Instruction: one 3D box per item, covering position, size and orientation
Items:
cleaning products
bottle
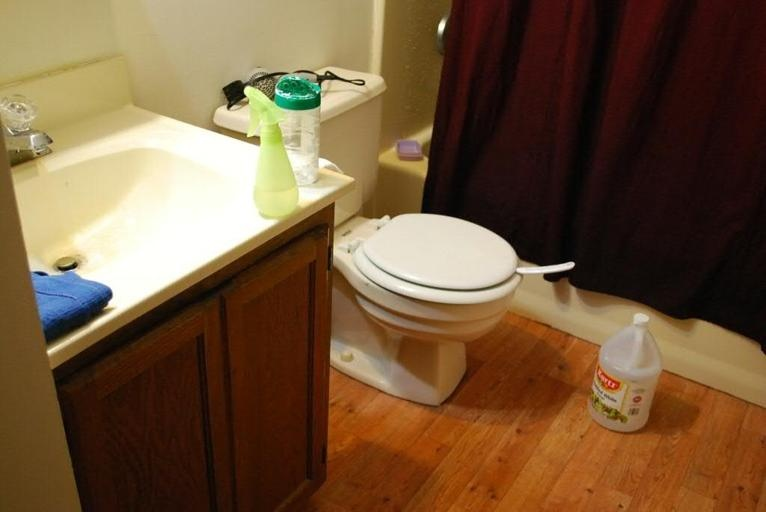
[{"bbox_3d":[-0.207,-0.205,1.219,0.115,0.263,0.129,9,38,6],"label":"cleaning products"},{"bbox_3d":[-0.202,-0.268,1.319,0.119,0.237,0.125,6,34,-4],"label":"bottle"}]
